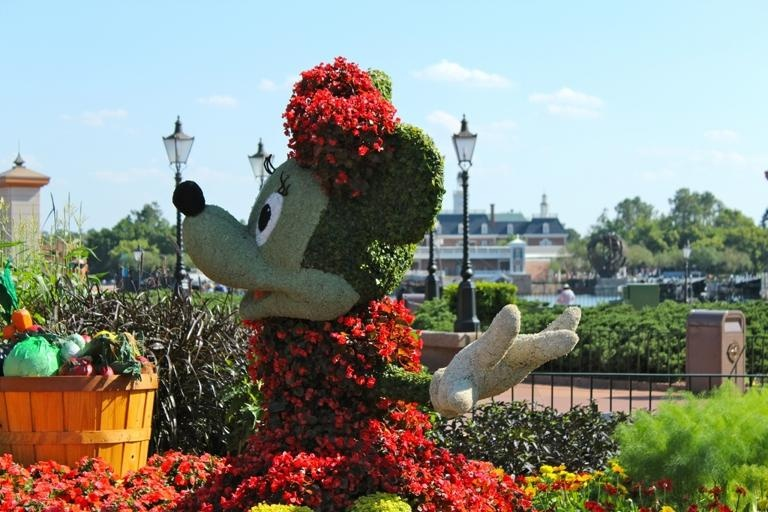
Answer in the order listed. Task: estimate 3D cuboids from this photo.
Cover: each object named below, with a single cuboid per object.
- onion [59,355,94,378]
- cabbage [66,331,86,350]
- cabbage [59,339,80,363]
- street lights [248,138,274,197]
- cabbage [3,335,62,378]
[{"bbox_3d":[-3.629,1.311,17.446,0.400,0.224,0.178,2,-1,-13],"label":"onion"},{"bbox_3d":[-3.677,1.021,17.732,0.165,0.215,0.169,-21,7,-36],"label":"cabbage"},{"bbox_3d":[-3.750,1.132,17.660,0.218,0.280,0.224,-5,15,38],"label":"cabbage"},{"bbox_3d":[-2.237,-1.502,26.751,0.438,1.237,0.493,-8,-10,32],"label":"street lights"},{"bbox_3d":[-4.177,1.188,17.488,0.641,0.455,0.175,2,-1,-15],"label":"cabbage"}]
